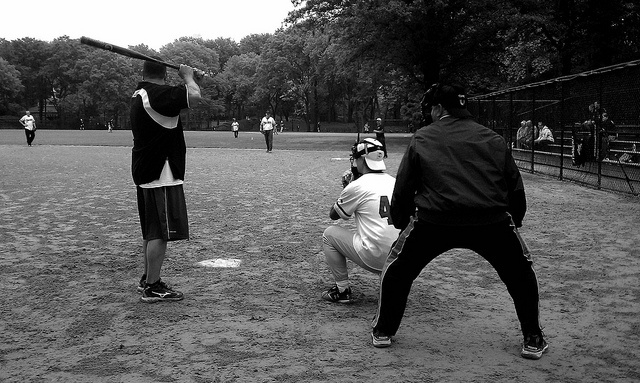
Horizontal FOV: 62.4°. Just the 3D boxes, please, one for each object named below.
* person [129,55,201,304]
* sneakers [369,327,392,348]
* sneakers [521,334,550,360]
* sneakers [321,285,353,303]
[{"bbox_3d":[-1.995,-0.014,6.885,0.773,2.812,0.543,-3,10,-19],"label":"person"},{"bbox_3d":[0.690,1.655,5.979,0.136,0.109,0.278,1,3,3],"label":"sneakers"},{"bbox_3d":[2.337,1.706,5.791,0.158,0.174,0.414,-2,8,29],"label":"sneakers"},{"bbox_3d":[0.235,1.350,6.969,0.392,0.158,0.183,4,4,19],"label":"sneakers"}]
